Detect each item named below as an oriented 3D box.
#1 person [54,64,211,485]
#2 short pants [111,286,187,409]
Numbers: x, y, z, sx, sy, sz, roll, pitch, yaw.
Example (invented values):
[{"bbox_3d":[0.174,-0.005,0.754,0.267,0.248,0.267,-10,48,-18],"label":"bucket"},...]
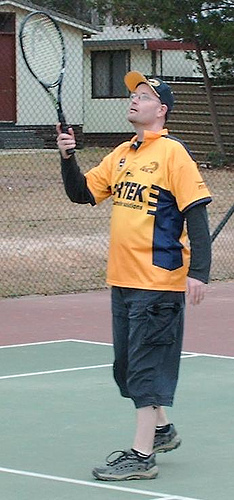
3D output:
[{"bbox_3d":[0.085,0.078,2.029,0.651,1.759,0.459,0,-1,25],"label":"person"},{"bbox_3d":[0.118,0.420,2.023,0.340,0.527,0.314,0,-1,18],"label":"short pants"}]
